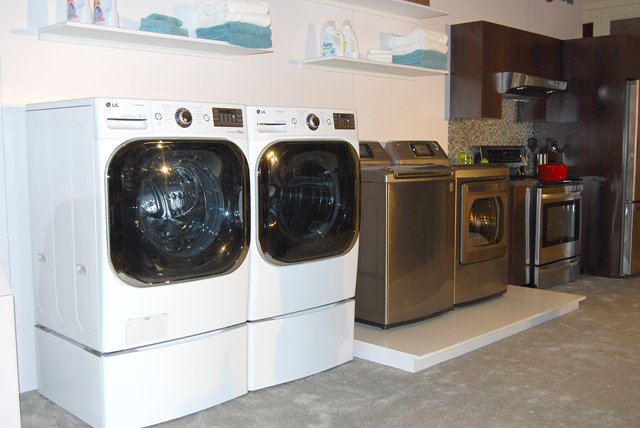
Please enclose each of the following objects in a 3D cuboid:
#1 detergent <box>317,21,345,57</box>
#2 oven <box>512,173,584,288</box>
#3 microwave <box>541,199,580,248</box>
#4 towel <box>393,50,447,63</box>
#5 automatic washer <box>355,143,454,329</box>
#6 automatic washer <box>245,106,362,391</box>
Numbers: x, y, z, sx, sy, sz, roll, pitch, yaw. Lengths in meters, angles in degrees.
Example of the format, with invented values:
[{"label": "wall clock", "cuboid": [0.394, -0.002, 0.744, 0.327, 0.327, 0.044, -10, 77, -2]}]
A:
[{"label": "detergent", "cuboid": [0.080, -1.435, 3.897, 0.262, 0.268, 0.153, 12, 17, 43]}, {"label": "oven", "cuboid": [2.377, 0.192, 5.014, 1.014, 1.153, 0.353, -9, 15, -33]}, {"label": "microwave", "cuboid": [2.500, 0.094, 4.965, 0.498, 0.352, 0.253, -6, 6, -40]}, {"label": "towel", "cuboid": [0.857, -1.402, 4.237, 0.211, 0.063, 0.207, -11, 13, -42]}, {"label": "automatic washer", "cuboid": [0.664, 0.125, 3.911, 0.941, 1.314, 0.707, -6, 14, -33]}, {"label": "automatic washer", "cuboid": [-0.120, 0.196, 3.059, 0.891, 1.739, 0.250, -8, 14, -31]}]
